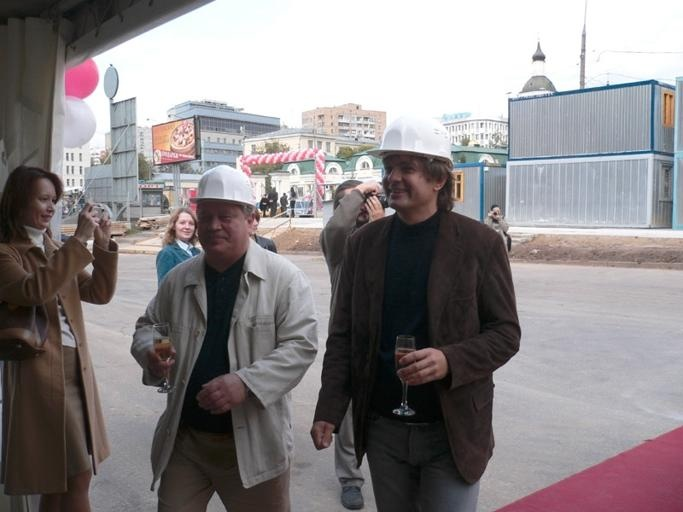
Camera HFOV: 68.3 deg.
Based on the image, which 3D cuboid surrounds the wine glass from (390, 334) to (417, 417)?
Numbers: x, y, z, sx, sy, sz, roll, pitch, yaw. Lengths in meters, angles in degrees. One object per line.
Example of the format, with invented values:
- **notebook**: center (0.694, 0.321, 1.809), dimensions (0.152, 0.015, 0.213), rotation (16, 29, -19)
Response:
- **wine glass**: center (0.291, 0.574, 2.331), dimensions (0.110, 0.420, 0.192), rotation (0, 6, 6)

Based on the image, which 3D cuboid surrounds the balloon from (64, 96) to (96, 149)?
- **balloon**: center (-2.669, -1.388, 5.151), dimensions (0.282, 0.530, 0.657), rotation (-4, 7, -28)

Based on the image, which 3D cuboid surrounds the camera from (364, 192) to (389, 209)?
- **camera**: center (0.277, -0.430, 3.941), dimensions (0.162, 0.111, 0.229), rotation (3, -14, 2)
